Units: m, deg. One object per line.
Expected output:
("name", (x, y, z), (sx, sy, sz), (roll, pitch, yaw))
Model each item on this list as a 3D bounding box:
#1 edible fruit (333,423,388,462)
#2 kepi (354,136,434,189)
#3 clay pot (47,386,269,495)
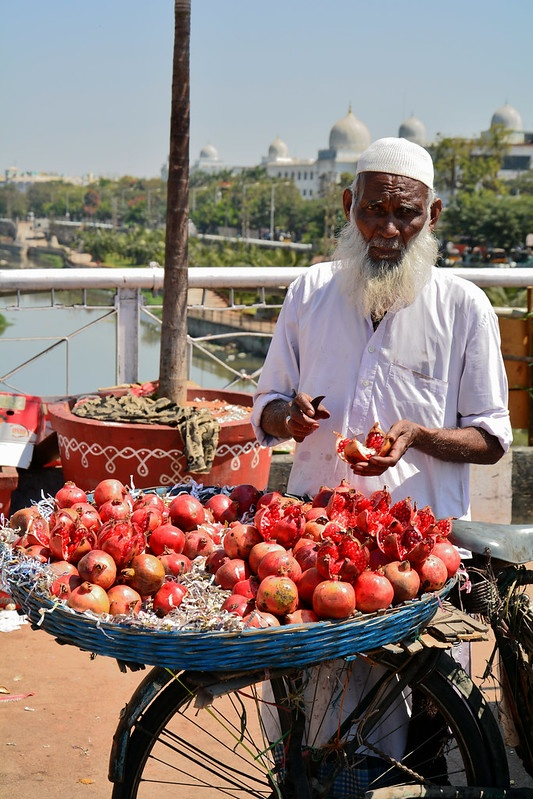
("edible fruit", (0.235, 0.106, 2.095), (0.088, 0.067, 0.116), (-14, 4, 31))
("kepi", (0.359, -0.651, 2.262), (0.217, 0.153, 0.286), (3, 6, 1))
("clay pot", (-0.513, 0.220, 3.619), (0.578, 0.337, 0.579), (1, 4, 0))
